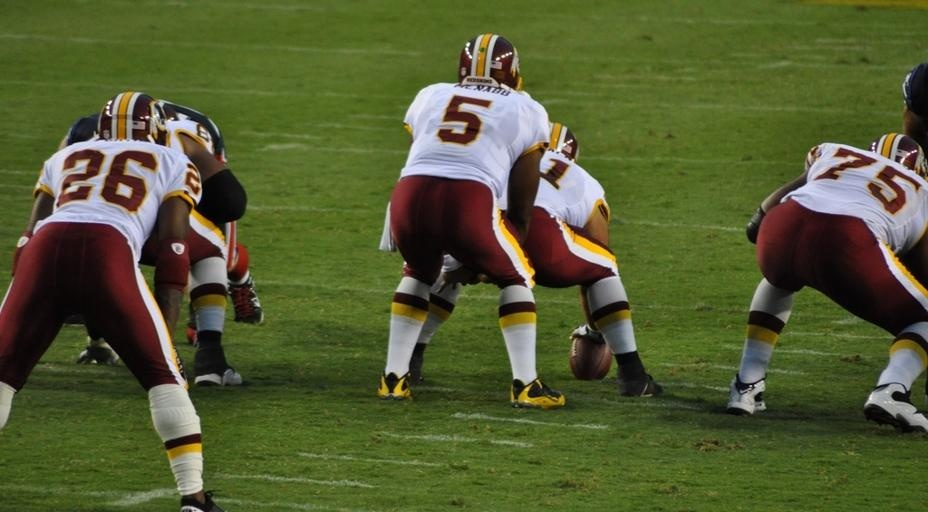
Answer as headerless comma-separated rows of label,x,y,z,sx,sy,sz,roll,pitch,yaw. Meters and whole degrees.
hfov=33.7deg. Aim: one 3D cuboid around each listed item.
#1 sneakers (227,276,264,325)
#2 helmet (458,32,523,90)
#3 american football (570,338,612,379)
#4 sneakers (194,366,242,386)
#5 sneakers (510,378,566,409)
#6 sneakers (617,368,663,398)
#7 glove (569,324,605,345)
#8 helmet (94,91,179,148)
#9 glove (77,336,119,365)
sneakers,-1.868,0.390,13.414,0.208,0.481,0.231,-17,14,5
helmet,0.247,-1.594,12.403,0.422,0.425,0.548,8,10,39
american football,1.015,0.859,12.737,0.361,0.250,0.313,20,-2,40
sneakers,-1.922,0.975,12.362,0.421,0.146,0.143,5,-3,-12
sneakers,0.587,1.099,12.032,0.509,0.174,0.172,1,1,-5
sneakers,1.411,1.041,12.333,0.406,0.133,0.180,-1,2,-28
glove,1.023,0.644,12.740,0.132,0.101,0.282,5,3,-36
helmet,-2.399,-1.010,11.282,0.414,0.358,0.513,4,17,24
glove,-2.983,0.800,12.709,0.358,0.151,0.411,0,-5,1
